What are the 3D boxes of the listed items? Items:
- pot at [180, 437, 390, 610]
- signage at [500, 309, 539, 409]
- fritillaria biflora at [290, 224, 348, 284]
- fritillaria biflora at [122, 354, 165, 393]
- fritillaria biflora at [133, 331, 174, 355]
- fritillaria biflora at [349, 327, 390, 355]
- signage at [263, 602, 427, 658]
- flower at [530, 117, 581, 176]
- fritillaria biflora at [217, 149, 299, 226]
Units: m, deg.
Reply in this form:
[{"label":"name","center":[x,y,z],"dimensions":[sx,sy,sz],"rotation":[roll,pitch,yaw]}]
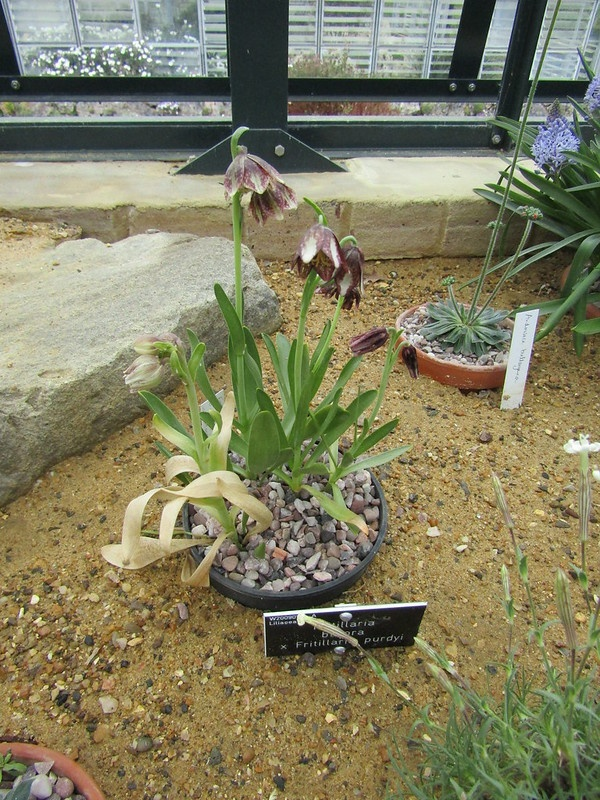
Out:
[{"label":"pot","center":[0.015,0.319,1.334],"dimensions":[0.342,0.163,0.403],"rotation":[9,34,12]},{"label":"signage","center":[0.708,-0.126,1.862],"dimensions":[0.103,0.353,0.081],"rotation":[5,35,7]},{"label":"fritillaria biflora","center":[0.046,-0.258,0.993],"dimensions":[0.086,0.086,0.084],"rotation":[-5,4,-18]},{"label":"fritillaria biflora","center":[-0.260,-0.052,0.982],"dimensions":[0.056,0.034,0.068],"rotation":[43,63,9]},{"label":"fritillaria biflora","center":[-0.242,-0.096,0.963],"dimensions":[0.059,0.033,0.028],"rotation":[-14,-2,-9]},{"label":"fritillaria biflora","center":[0.140,-0.123,1.189],"dimensions":[0.089,0.037,0.042],"rotation":[-28,38,11]},{"label":"signage","center":[0.077,0.436,1.091],"dimensions":[0.429,0.247,0.016],"rotation":[-4,52,-2]},{"label":"flower","center":[0.866,-0.855,1.978],"dimensions":[0.129,0.199,0.288],"rotation":[13,35,18]},{"label":"fritillaria biflora","center":[-0.067,-0.361,0.991],"dimensions":[0.108,0.124,0.116],"rotation":[5,34,7]}]
